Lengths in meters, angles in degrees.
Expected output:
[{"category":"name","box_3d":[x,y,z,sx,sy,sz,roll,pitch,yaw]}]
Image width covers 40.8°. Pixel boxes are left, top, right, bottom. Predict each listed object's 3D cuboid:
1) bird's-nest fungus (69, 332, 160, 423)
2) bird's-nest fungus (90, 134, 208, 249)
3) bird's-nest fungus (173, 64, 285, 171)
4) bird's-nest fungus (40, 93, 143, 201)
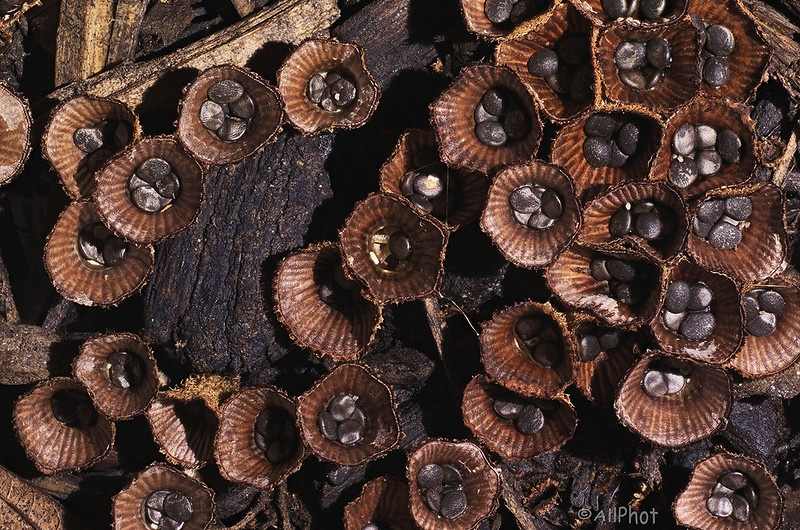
[{"category":"bird's-nest fungus","box_3d":[-2.530,0.965,9.602,0.736,0.553,0.611,31,-54,-20]},{"category":"bird's-nest fungus","box_3d":[-2.225,-0.650,9.496,0.843,0.586,0.809,-35,-60,30]},{"category":"bird's-nest fungus","box_3d":[-1.513,-1.323,9.488,0.808,0.633,0.788,33,-55,-22]},{"category":"bird's-nest fungus","box_3d":[-2.886,-1.107,9.914,0.899,0.920,0.400,-6,-18,-8]}]
